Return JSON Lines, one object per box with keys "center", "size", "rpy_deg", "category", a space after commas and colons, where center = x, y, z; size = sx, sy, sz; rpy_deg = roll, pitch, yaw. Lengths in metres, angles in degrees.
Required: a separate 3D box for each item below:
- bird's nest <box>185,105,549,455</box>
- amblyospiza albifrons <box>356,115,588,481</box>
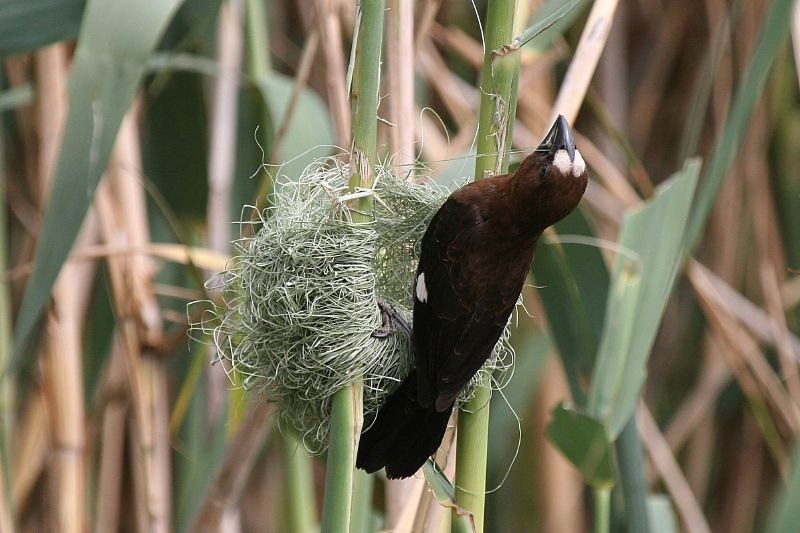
{"center": [-0.114, 0.042, 2.478], "size": [0.564, 0.680, 0.370], "rpy_deg": [20, -15, 12], "category": "bird's nest"}
{"center": [0.139, 0.045, 2.336], "size": [0.323, 0.735, 0.223], "rpy_deg": [18, -13, 48], "category": "amblyospiza albifrons"}
